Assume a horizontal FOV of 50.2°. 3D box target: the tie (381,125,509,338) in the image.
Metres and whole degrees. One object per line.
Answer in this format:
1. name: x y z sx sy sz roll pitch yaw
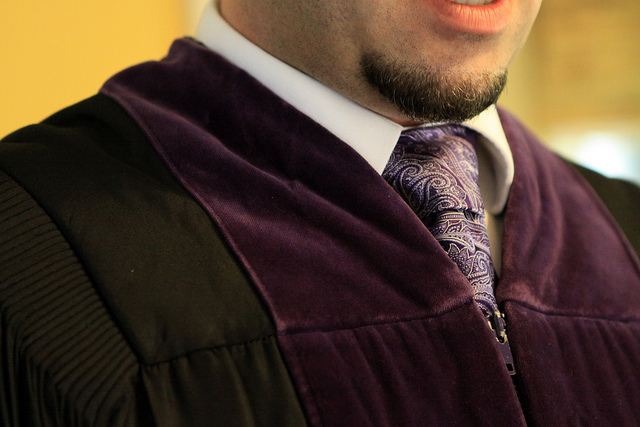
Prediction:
1. tie: 0.202 -0.015 1.164 0.116 0.449 0.106 -3 -27 -7
